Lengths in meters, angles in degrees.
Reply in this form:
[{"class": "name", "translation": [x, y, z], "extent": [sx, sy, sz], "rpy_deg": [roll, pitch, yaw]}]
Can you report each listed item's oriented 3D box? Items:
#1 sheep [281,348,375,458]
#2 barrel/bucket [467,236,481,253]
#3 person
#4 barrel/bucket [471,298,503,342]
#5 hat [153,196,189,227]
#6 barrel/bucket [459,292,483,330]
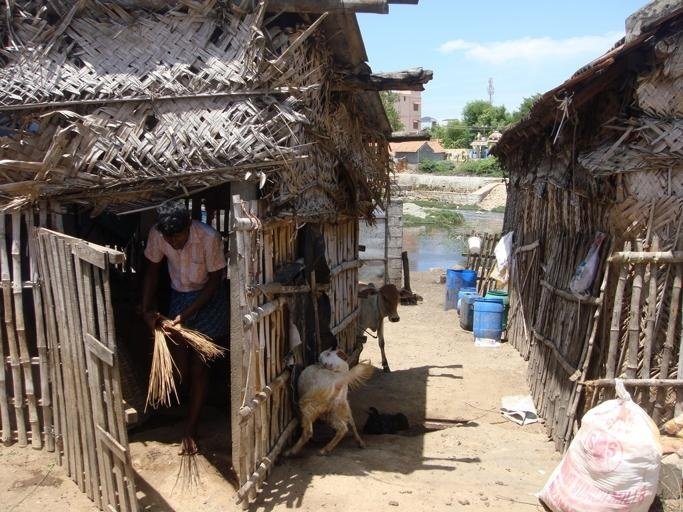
[{"class": "sheep", "translation": [-0.176, 1.537, 6.588], "extent": [0.809, 1.022, 0.421], "rpy_deg": [-1, 6, -5]}, {"class": "barrel/bucket", "translation": [3.088, -0.238, 14.388], "extent": [0.285, 0.366, 1.053], "rpy_deg": [1, 5, 13]}, {"class": "person", "translation": [-1.593, 0.725, 6.386], "extent": [0.814, 2.534, 0.881], "rpy_deg": [0, 6, 1]}, {"class": "barrel/bucket", "translation": [2.613, 1.156, 11.160], "extent": [0.573, 0.813, 0.531], "rpy_deg": [1, 3, 0]}, {"class": "hat", "translation": [-1.608, -0.428, 6.071], "extent": [0.309, 0.374, 0.399], "rpy_deg": [3, -13, -8]}, {"class": "barrel/bucket", "translation": [2.506, 1.079, 12.217], "extent": [0.361, 0.636, 0.606], "rpy_deg": [1, 6, -7]}]
